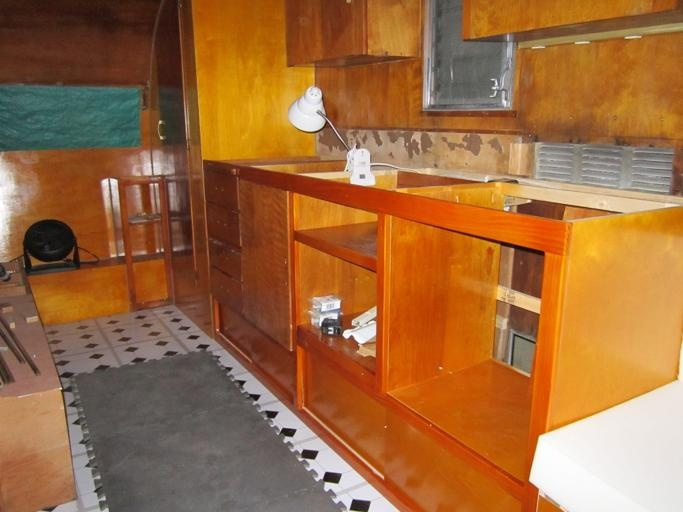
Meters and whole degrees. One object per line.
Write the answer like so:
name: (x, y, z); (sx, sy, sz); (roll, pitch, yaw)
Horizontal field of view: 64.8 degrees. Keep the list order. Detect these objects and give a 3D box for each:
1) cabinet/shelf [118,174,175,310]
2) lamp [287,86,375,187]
cabinet/shelf: (-1.678, -0.176, 4.668); (0.445, 1.094, 0.670); (-9, 22, -17)
lamp: (-0.061, -0.626, 3.039); (0.427, 0.559, 0.254); (-3, -12, -7)
